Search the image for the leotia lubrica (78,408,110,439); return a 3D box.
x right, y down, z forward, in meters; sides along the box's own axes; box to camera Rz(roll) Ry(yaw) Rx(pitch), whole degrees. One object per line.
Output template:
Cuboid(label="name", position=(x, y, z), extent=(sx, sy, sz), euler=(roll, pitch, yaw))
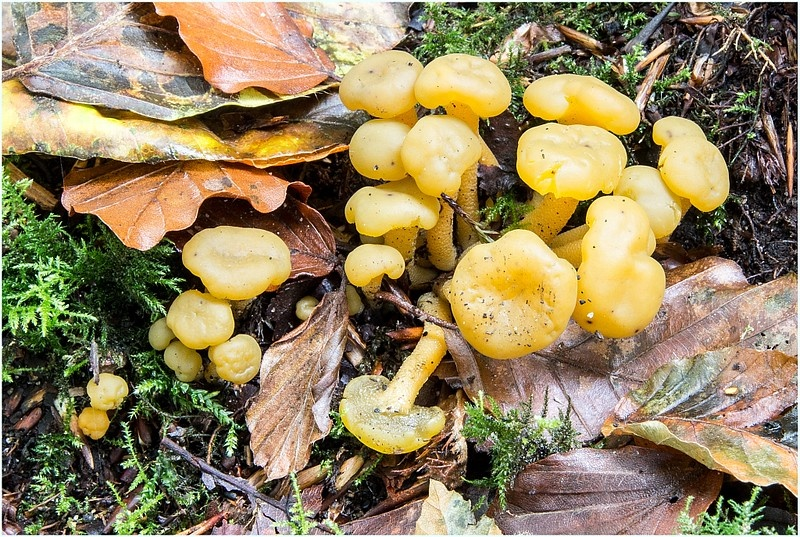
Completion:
Cuboid(label="leotia lubrica", position=(-1.683, 0.840, 3.852), extent=(0.152, 0.122, 0.147), euler=(27, 69, 8))

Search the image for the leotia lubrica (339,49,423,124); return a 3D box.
Cuboid(label="leotia lubrica", position=(-0.100, -0.970, 3.671), extent=(0.383, 0.143, 0.391), euler=(8, 64, 18))

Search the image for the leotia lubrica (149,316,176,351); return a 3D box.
Cuboid(label="leotia lubrica", position=(-1.308, 0.363, 3.915), extent=(0.139, 0.100, 0.171), euler=(45, 113, 29))

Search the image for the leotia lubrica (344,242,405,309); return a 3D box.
Cuboid(label="leotia lubrica", position=(-0.138, 0.008, 3.856), extent=(0.317, 0.308, 0.247), euler=(-13, 47, -18))

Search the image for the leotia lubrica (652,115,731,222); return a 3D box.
Cuboid(label="leotia lubrica", position=(1.527, -0.562, 3.725), extent=(0.361, 0.258, 0.576), euler=(-2, 68, -3))

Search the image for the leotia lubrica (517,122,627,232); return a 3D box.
Cuboid(label="leotia lubrica", position=(0.881, -0.465, 3.556), extent=(0.364, 0.518, 0.338), euler=(29, 70, 9))

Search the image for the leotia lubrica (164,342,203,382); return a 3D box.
Cuboid(label="leotia lubrica", position=(-1.178, 0.515, 3.891), extent=(0.249, 0.090, 0.202), euler=(21, 45, 33))
